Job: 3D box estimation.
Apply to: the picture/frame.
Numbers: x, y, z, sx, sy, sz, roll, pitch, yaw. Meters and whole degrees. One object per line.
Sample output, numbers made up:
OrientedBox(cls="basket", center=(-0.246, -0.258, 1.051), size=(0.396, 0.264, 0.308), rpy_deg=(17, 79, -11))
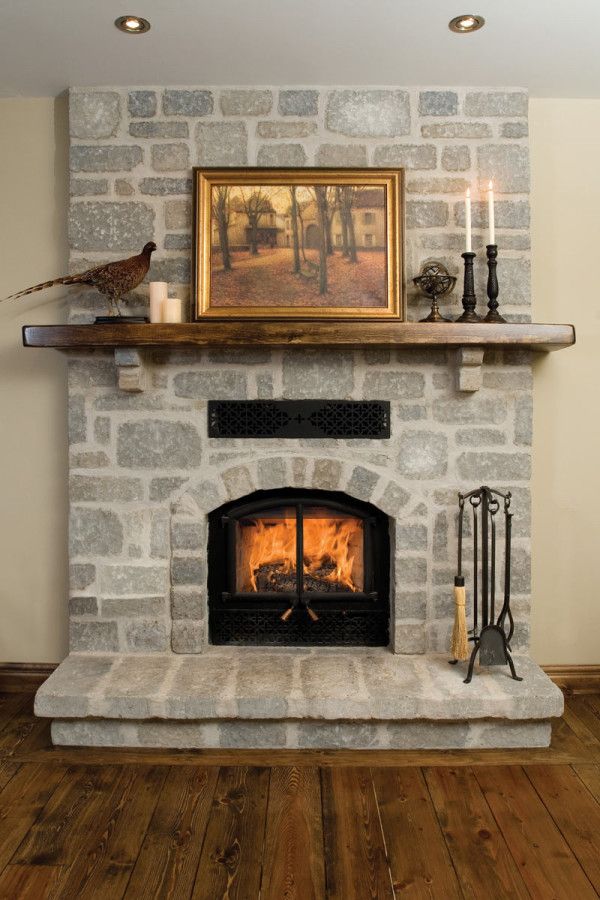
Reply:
OrientedBox(cls="picture/frame", center=(-0.004, -0.784, 3.418), size=(0.676, 0.421, 0.031), rpy_deg=(0, -1, 0))

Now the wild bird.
OrientedBox(cls="wild bird", center=(-0.819, -0.646, 3.406), size=(0.541, 0.268, 0.283), rpy_deg=(4, 14, 17))
